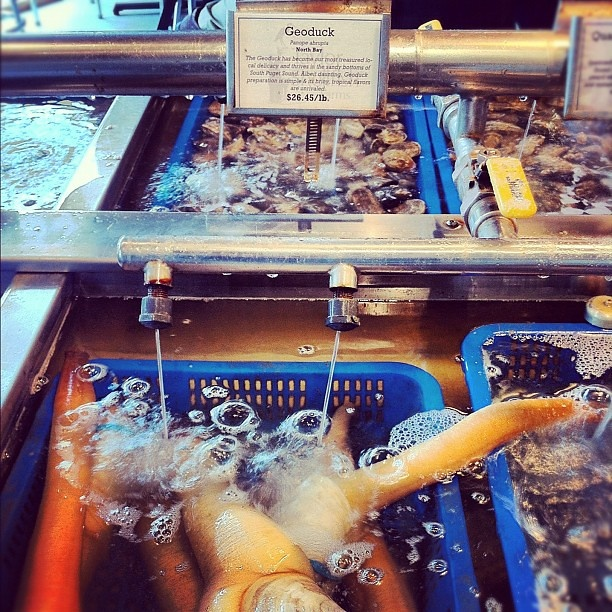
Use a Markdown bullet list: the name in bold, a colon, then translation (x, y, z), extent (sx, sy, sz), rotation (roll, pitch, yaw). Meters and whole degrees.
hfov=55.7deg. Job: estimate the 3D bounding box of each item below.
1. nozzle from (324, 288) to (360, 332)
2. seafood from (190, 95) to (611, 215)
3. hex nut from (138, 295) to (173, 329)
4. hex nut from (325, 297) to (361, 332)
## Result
- **nozzle**: translation (0.052, 0.009, 0.834), extent (0.058, 0.056, 0.056), rotation (-8, 69, 21)
- **seafood**: translation (0.243, -0.307, 1.552), extent (0.848, 0.179, 0.467), rotation (2, 58, 0)
- **hex nut**: translation (-0.210, 0.008, 0.810), extent (0.048, 0.047, 0.043), rotation (0, 86, 9)
- **hex nut**: translation (0.052, 0.016, 0.832), extent (0.050, 0.047, 0.044), rotation (2, 68, 2)
